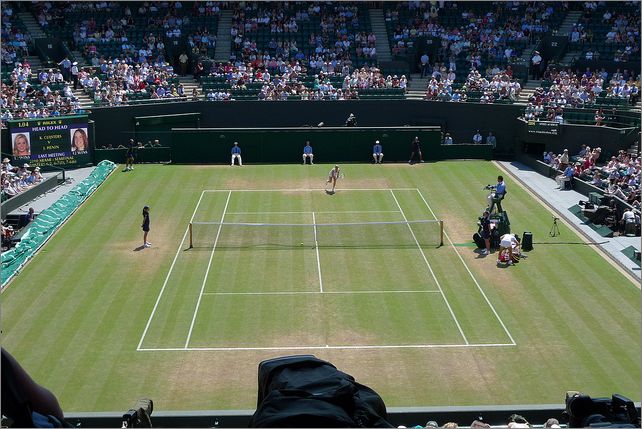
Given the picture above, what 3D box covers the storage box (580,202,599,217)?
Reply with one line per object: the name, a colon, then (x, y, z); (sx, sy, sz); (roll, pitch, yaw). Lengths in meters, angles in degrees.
storage box: (16.810, -0.388, 39.290); (0.869, 0.609, 0.976); (12, 33, 17)
